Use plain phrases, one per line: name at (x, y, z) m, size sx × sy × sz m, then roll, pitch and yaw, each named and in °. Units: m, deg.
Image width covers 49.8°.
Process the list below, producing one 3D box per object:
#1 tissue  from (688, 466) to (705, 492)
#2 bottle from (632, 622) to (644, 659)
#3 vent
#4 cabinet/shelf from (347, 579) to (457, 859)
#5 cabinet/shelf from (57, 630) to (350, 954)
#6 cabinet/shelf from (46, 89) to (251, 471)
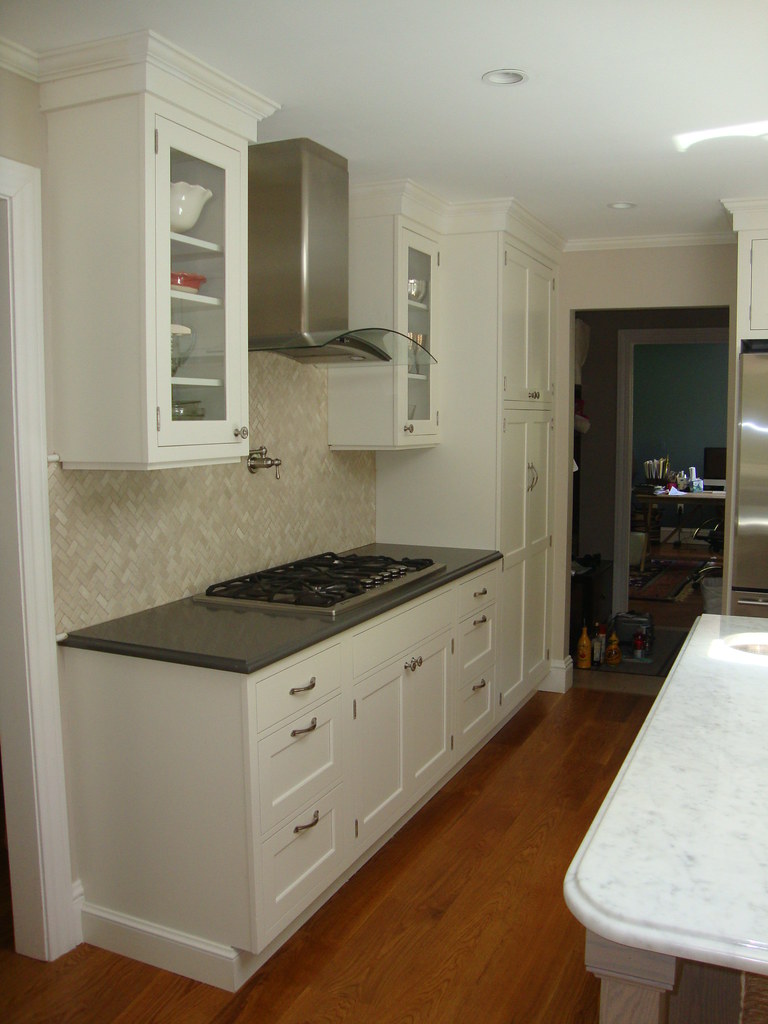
tissue  at (3.531, -0.363, 9.345) m, size 0.173 × 0.244 × 0.845 m, roll 3°, pitch 5°, yaw 19°
bottle at (1.623, 0.840, 5.257) m, size 0.068 × 0.184 × 0.139 m, roll 2°, pitch 5°, yaw 19°
vent at (-0.173, -0.857, 2.758) m, size 0.359 × 0.689 × 0.711 m, roll 5°, pitch 10°, yaw 25°
cabinet/shelf at (0.048, 0.700, 2.764) m, size 0.306 × 0.716 × 0.819 m, roll -1°, pitch 6°, yaw 22°
cabinet/shelf at (-0.423, 0.680, 2.500) m, size 0.722 × 0.988 × 0.713 m, roll 1°, pitch 8°, yaw 17°
cabinet/shelf at (-0.607, -0.559, 2.176) m, size 0.321 × 0.888 × 0.443 m, roll 3°, pitch 5°, yaw 23°
